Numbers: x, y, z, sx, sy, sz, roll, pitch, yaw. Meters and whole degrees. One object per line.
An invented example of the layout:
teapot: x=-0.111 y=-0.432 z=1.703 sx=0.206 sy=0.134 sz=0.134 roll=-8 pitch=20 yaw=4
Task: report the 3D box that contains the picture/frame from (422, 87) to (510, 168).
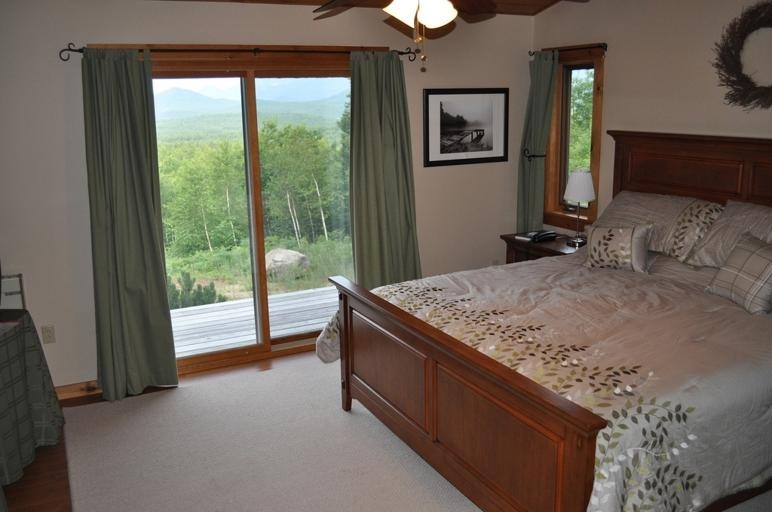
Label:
picture/frame: x=0.803 y=-1.388 z=5.556 sx=0.852 sy=0.653 sz=0.035 roll=-4 pitch=12 yaw=-19
